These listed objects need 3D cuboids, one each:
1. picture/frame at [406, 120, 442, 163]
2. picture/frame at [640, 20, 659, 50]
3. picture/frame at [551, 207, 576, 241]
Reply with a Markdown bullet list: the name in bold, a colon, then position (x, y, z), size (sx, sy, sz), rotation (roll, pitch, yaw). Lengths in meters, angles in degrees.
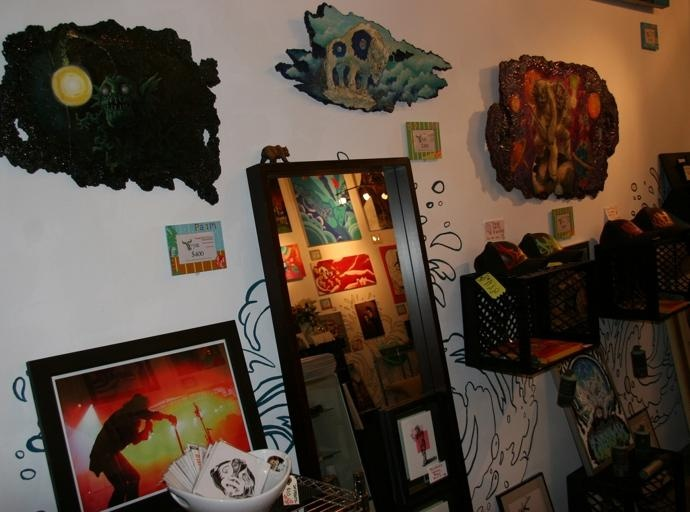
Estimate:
- **picture/frame**: position (0.335, -0.491, 2.275), size (0.187, 0.187, 0.021), rotation (-3, -2, -40)
- **picture/frame**: position (1.790, -1.290, 3.098), size (0.179, 0.207, 0.017), rotation (0, -5, -40)
- **picture/frame**: position (1.124, -0.161, 2.719), size (0.143, 0.187, 0.012), rotation (-9, 6, -38)
